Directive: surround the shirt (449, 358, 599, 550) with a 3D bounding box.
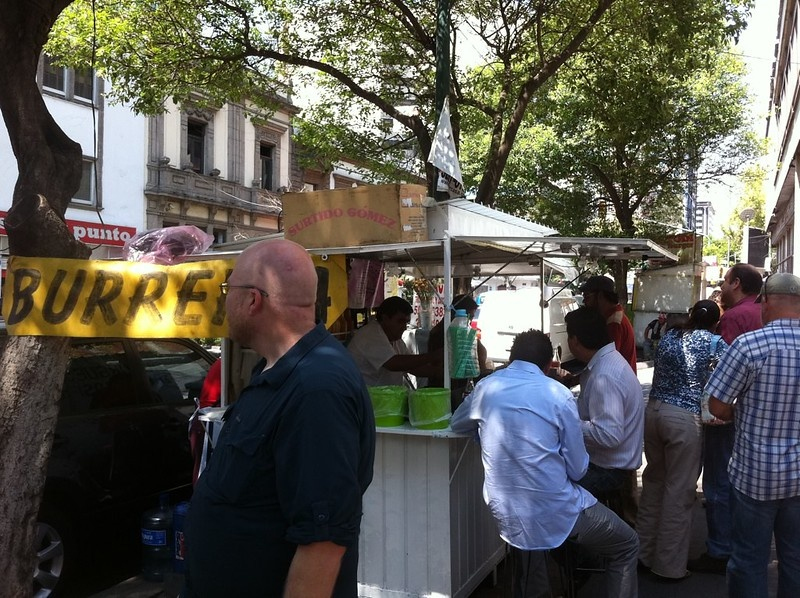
[{"bbox_3d":[0.927,1.187,5.671,1.067,1.462,0.915,-2,4,27],"label":"shirt"}]

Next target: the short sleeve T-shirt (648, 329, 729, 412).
[{"bbox_3d":[2.509,0.630,6.382,0.499,0.601,0.317,18,-8,42],"label":"short sleeve T-shirt"}]

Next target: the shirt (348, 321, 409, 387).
[{"bbox_3d":[-0.205,0.560,7.426,0.574,0.715,0.579,-5,6,8],"label":"shirt"}]

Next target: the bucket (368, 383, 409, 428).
[{"bbox_3d":[-0.098,0.916,6.127,0.377,0.314,0.383,-2,-10,0],"label":"bucket"}]

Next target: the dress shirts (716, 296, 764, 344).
[{"bbox_3d":[3.021,0.199,6.548,0.380,0.334,0.196,-2,7,-22],"label":"dress shirts"}]

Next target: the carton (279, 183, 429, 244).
[{"bbox_3d":[-0.429,-0.720,6.628,1.279,0.557,0.406,0,0,33],"label":"carton"}]

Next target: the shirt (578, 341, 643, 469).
[{"bbox_3d":[1.730,0.887,6.426,0.704,1.263,1.375,-1,-3,20],"label":"shirt"}]

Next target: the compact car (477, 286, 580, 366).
[{"bbox_3d":[2.300,0.602,14.314,1.336,1.258,2.281,-3,3,35],"label":"compact car"}]

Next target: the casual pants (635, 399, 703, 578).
[{"bbox_3d":[2.387,1.669,6.611,0.381,1.410,0.459,13,-13,-37],"label":"casual pants"}]

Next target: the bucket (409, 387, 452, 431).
[{"bbox_3d":[0.245,0.854,5.907,0.299,0.237,0.296,0,3,0],"label":"bucket"}]

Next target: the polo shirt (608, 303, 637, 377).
[{"bbox_3d":[2.338,0.401,7.696,0.173,0.512,0.507,-13,-6,32],"label":"polo shirt"}]
